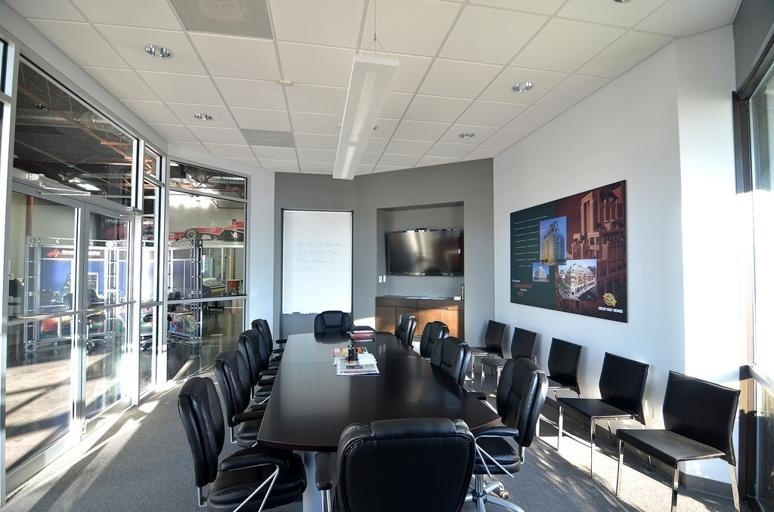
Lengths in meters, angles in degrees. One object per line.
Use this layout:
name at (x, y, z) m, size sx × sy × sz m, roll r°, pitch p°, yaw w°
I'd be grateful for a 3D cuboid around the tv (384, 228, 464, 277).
tv at (0.703, -0.054, 9.526) m, size 1.605 × 0.887 × 0.172 m, roll -2°, pitch -2°, yaw 27°

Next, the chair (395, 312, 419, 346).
chair at (0.297, 1.176, 7.386) m, size 0.355 × 0.437 × 0.369 m, roll 11°, pitch -16°, yaw -40°

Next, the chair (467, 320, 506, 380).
chair at (1.585, 1.577, 7.986) m, size 0.536 × 0.928 × 0.544 m, roll 4°, pitch -2°, yaw -13°

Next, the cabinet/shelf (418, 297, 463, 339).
cabinet/shelf at (0.945, 1.085, 8.441) m, size 0.729 × 0.688 × 0.244 m, roll -4°, pitch -9°, yaw 35°

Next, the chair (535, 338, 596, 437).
chair at (2.158, 1.704, 6.475) m, size 0.798 × 1.054 × 0.776 m, roll 0°, pitch 0°, yaw 12°

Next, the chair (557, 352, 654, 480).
chair at (2.526, 1.860, 5.693) m, size 0.799 × 1.208 × 0.754 m, roll 0°, pitch 2°, yaw -15°
